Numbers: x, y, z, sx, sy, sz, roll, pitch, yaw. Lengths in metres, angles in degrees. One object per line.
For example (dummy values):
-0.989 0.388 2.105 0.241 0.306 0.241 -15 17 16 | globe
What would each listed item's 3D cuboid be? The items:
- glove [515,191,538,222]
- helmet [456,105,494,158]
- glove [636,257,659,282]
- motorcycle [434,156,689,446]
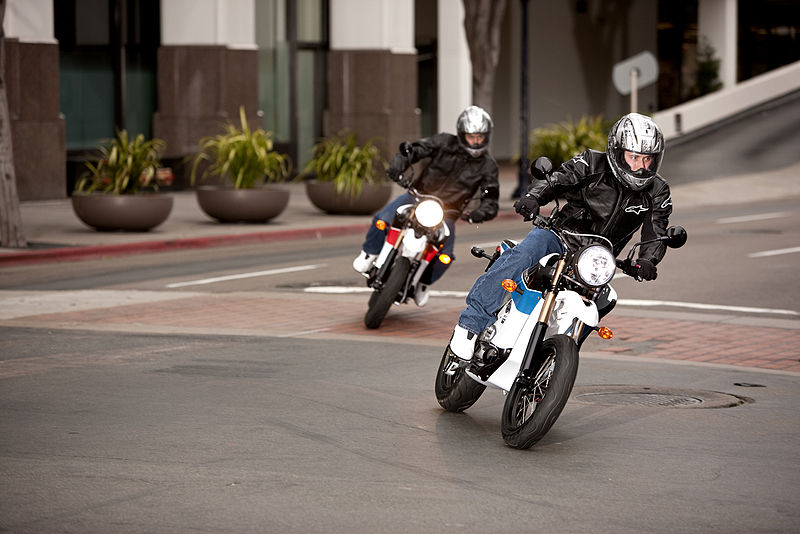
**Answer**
0.969 -0.452 6.877 0.184 0.199 0.271 2 9 7 | glove
0.832 -1.601 10.159 0.407 0.538 0.534 0 40 0 | helmet
1.846 0.032 6.716 0.151 0.173 0.290 3 10 14 | glove
1.144 0.233 6.949 1.669 2.227 1.170 10 13 43 | motorcycle
